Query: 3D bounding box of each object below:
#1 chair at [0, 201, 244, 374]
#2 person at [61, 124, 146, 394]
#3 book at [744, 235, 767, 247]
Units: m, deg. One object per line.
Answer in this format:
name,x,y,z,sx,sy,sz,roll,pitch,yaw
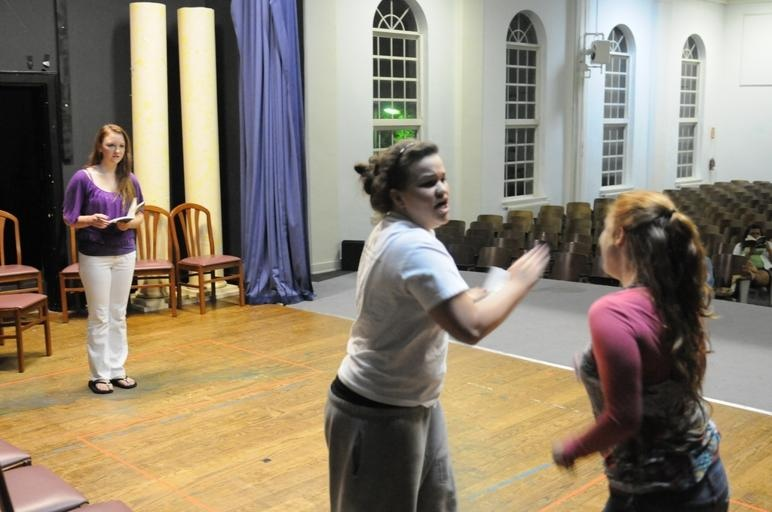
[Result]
chair,-2.852,0.334,5.456,1.699,1.089,0.569,-3,4,-30
person,-2.251,0.020,4.262,0.567,2.095,0.444,-9,15,-31
book,4.598,-0.181,6.582,0.325,0.124,0.254,2,-3,-37
